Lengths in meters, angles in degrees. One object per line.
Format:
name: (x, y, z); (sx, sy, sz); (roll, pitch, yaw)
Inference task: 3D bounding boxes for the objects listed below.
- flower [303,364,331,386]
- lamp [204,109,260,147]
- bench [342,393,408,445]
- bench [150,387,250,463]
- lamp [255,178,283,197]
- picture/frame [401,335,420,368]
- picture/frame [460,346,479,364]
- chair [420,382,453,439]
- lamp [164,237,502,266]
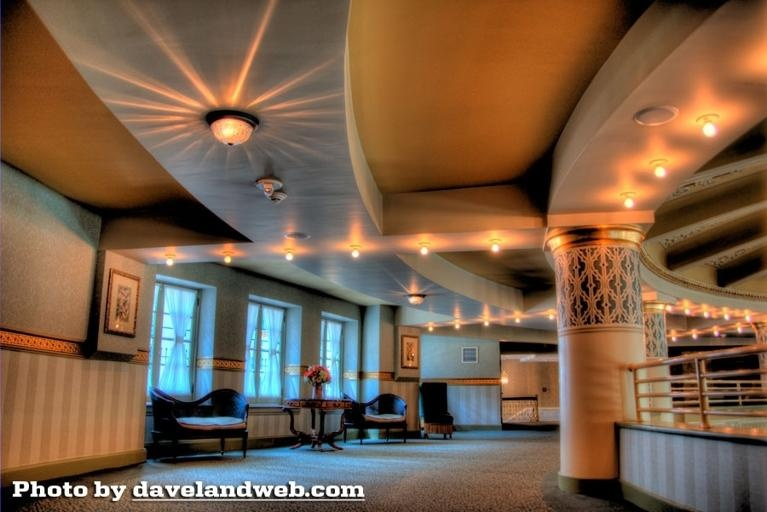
flower: (-1.438, 2.600, 12.444); (0.557, 0.335, 0.521); (4, -6, -25)
lamp: (-1.561, -1.230, 5.793); (0.545, 0.222, 0.535); (-12, -17, 28)
bench: (-0.216, 3.954, 14.124); (1.435, 1.216, 1.683); (-3, -29, 7)
bench: (-3.489, 3.031, 10.395); (1.693, 1.194, 1.729); (7, -17, -30)
lamp: (-1.374, -0.823, 6.801); (0.257, 0.120, 0.237); (-1, -18, -3)
picture/frame: (0.729, 2.800, 16.590); (0.108, 0.938, 0.997); (-9, -14, 33)
picture/frame: (2.913, 3.372, 19.347); (0.663, 0.534, 0.061); (-2, -6, 11)
chair: (1.458, 4.326, 16.121); (0.850, 1.492, 0.959); (-2, -15, 0)
lamp: (-0.879, 0.059, 9.040); (5.447, 0.226, 0.365); (-3, -43, 13)
